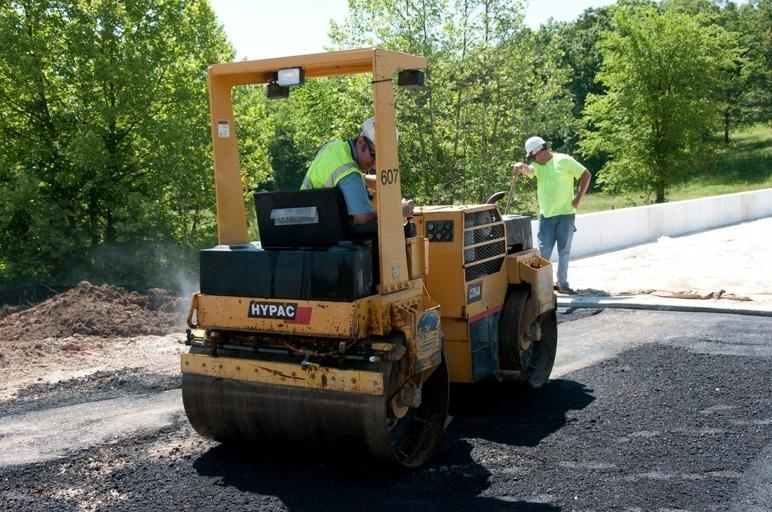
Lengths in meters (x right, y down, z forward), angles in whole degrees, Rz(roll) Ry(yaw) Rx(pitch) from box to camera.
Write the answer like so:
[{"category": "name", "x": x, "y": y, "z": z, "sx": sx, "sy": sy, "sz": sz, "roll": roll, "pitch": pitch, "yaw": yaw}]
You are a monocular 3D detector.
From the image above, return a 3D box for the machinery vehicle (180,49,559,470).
[{"category": "machinery vehicle", "x": 0.230, "y": -0.161, "z": 8.048, "sx": 2.417, "sy": 4.052, "sz": 4.247, "roll": 4, "pitch": 10, "yaw": 36}]
